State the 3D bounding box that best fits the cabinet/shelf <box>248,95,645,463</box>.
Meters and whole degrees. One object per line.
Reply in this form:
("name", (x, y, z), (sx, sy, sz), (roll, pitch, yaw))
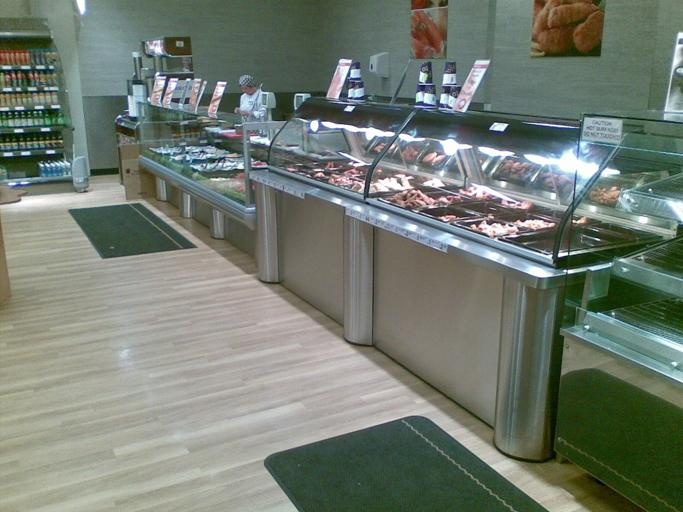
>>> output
("cabinet/shelf", (0.568, 0.167, 2.855), (1.040, 1.244, 2.390), (-14, 21, -37))
